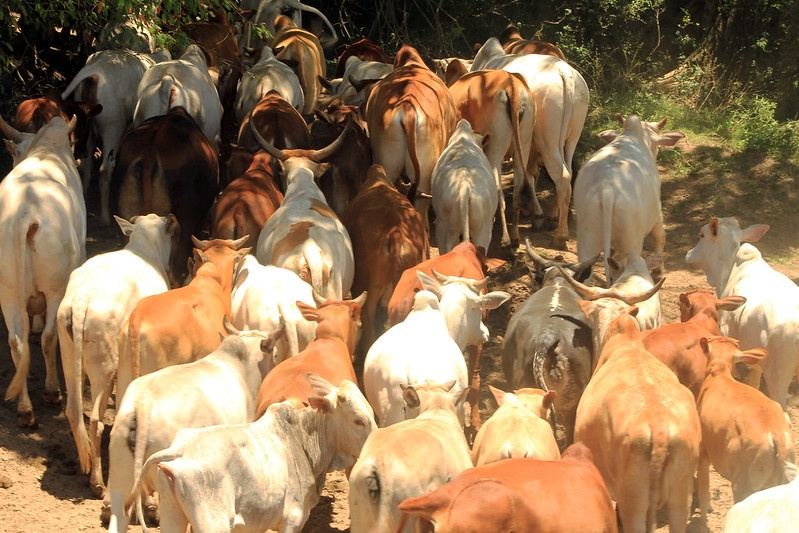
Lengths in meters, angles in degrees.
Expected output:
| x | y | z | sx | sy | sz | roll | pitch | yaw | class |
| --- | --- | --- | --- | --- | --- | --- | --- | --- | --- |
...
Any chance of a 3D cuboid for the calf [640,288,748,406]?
| x | y | z | sx | sy | sz | roll | pitch | yaw | class |
| --- | --- | --- | --- | --- | --- | --- | --- | --- | --- |
| 3.639 | 0.914 | 11.291 | 0.809 | 0.942 | 1.708 | 2 | 38 | 36 | calf |
